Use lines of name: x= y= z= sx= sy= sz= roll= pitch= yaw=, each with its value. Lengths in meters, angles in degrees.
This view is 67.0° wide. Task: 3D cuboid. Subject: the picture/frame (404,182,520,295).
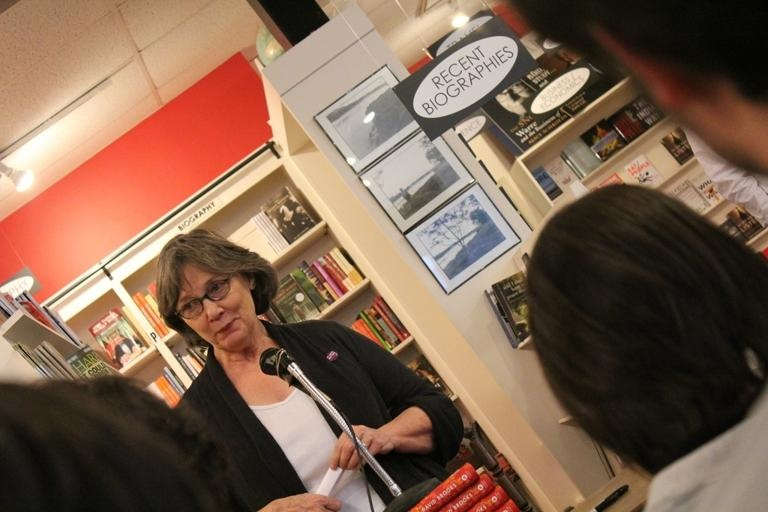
picture/frame: x=0.331 y=-0.077 z=2.535 sx=0.392 sy=0.290 sz=0.009 roll=-34 pitch=0 yaw=-1

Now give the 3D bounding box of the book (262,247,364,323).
book: x=-0.419 y=0.194 z=3.505 sx=0.500 sy=0.153 sz=0.394 roll=-33 pitch=-3 yaw=0

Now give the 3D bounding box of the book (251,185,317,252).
book: x=-0.603 y=-0.234 z=3.564 sx=0.353 sy=0.368 sz=0.090 roll=-40 pitch=-8 yaw=-4

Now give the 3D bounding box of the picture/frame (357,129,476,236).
picture/frame: x=0.135 y=-0.320 z=2.536 sx=0.376 sy=0.271 sz=0.010 roll=-36 pitch=1 yaw=-5

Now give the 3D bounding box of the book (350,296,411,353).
book: x=-0.018 y=0.401 z=3.384 sx=0.294 sy=0.307 sz=0.102 roll=-47 pitch=-16 yaw=7

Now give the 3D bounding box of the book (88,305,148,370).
book: x=-1.636 y=0.501 z=3.562 sx=0.276 sy=0.378 sz=0.090 roll=-39 pitch=-15 yaw=-6

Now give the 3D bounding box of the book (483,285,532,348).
book: x=0.538 y=0.292 z=2.529 sx=0.074 sy=0.310 sz=0.297 roll=-25 pitch=-55 yaw=-23
